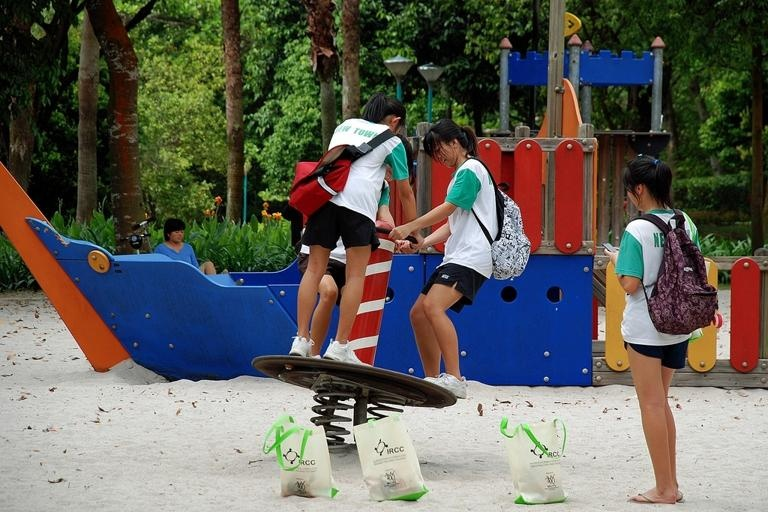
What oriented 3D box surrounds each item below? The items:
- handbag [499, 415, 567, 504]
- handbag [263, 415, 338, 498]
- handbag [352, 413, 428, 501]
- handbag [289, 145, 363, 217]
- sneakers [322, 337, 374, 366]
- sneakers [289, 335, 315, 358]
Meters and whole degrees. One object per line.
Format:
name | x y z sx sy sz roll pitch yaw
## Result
handbag | 1.480 2.037 10.486 0.664 0.758 0.435 -6 -4 -12
handbag | -0.809 1.949 10.438 0.653 0.809 0.446 -2 3 20
handbag | 0.055 1.900 10.404 0.576 0.894 0.314 -9 16 11
handbag | -0.684 -0.750 11.169 0.331 0.611 0.797 34 54 8
sneakers | -0.383 1.005 11.042 0.589 0.271 0.210 12 -5 -29
sneakers | -0.845 0.960 10.943 0.243 0.241 0.682 -4 9 -3
